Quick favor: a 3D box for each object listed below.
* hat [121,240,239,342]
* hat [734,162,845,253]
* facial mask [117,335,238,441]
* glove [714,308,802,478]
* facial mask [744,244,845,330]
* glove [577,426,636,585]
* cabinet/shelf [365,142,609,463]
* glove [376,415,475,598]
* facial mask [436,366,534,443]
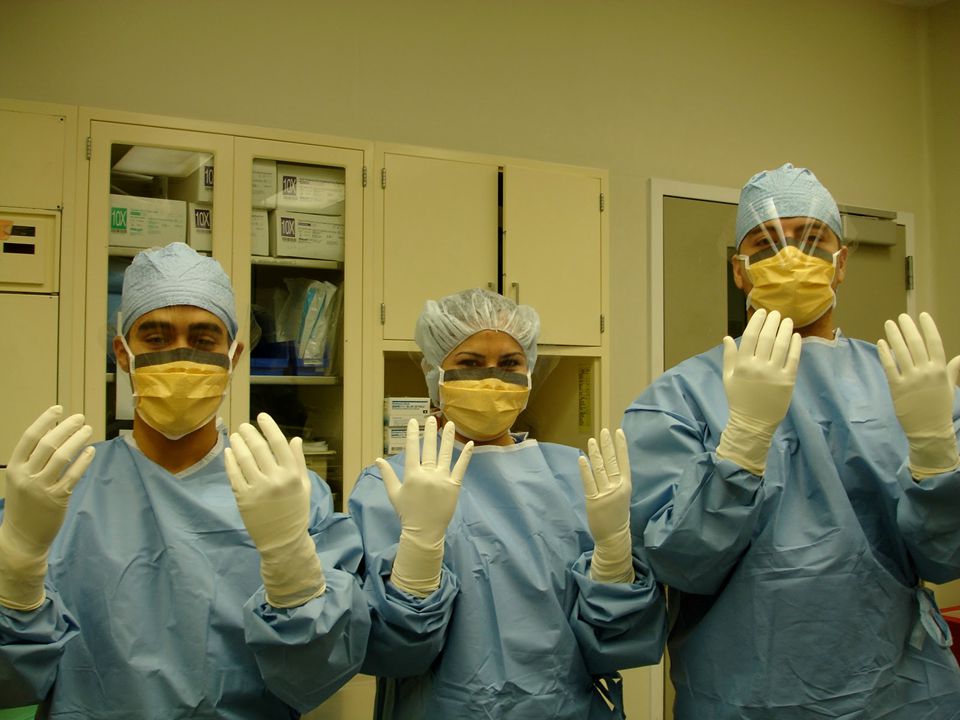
[{"bbox_3d":[-0.724,-0.182,2.325,0.207,0.216,0.230,0,-15,-10],"label":"hat"},{"bbox_3d":[0.789,-0.395,2.496,0.196,0.201,0.230,-2,-14,8],"label":"hat"},{"bbox_3d":[-0.708,0.054,2.293,0.181,0.163,0.213,0,7,-15],"label":"facial mask"},{"bbox_3d":[0.640,0.070,2.242,0.196,0.377,0.102,-1,1,3],"label":"glove"},{"bbox_3d":[0.784,-0.183,2.438,0.157,0.144,0.201,-3,3,9],"label":"facial mask"},{"bbox_3d":[0.296,0.332,2.277,0.120,0.354,0.193,-1,1,9],"label":"glove"},{"bbox_3d":[0.010,-0.213,3.166,0.903,1.291,0.332,2,-7,-22],"label":"cabinet/shelf"},{"bbox_3d":[-0.122,0.322,2.191,0.200,0.392,0.116,-1,1,-29],"label":"glove"},{"bbox_3d":[0.012,0.096,2.405,0.161,0.147,0.177,0,3,-11],"label":"facial mask"}]
